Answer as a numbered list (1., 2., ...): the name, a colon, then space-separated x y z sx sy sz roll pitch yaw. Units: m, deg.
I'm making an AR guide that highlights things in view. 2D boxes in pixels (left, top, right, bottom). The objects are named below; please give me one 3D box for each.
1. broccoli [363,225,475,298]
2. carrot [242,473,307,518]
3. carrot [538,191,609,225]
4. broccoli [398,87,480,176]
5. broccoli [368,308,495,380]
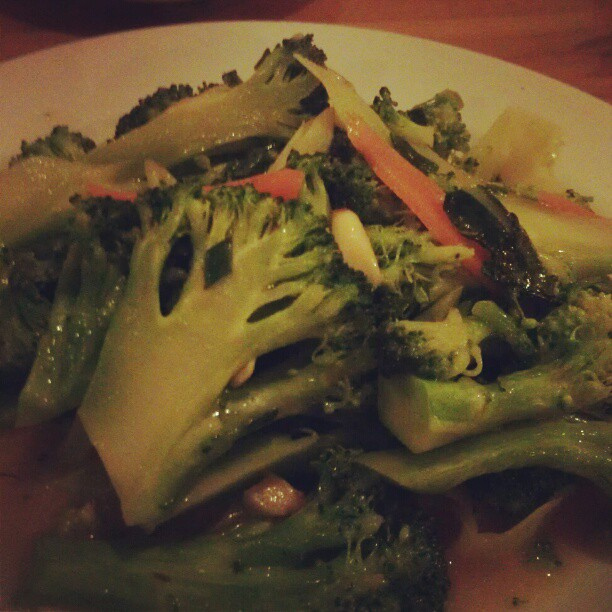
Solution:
1. broccoli: 0.263 -0.122 2.076 0.180 0.201 0.095 -22 -8 -4
2. carrot: -0.074 0.467 2.066 0.147 0.050 0.118 6 45 22
3. carrot: 0.631 -0.232 2.043 0.134 0.017 0.033 23 -8 5
4. broccoli: 0.333 -0.398 2.143 0.168 0.222 0.061 -22 -5 -18
5. broccoli: 0.278 0.092 1.897 0.194 0.172 0.089 -7 1 6
